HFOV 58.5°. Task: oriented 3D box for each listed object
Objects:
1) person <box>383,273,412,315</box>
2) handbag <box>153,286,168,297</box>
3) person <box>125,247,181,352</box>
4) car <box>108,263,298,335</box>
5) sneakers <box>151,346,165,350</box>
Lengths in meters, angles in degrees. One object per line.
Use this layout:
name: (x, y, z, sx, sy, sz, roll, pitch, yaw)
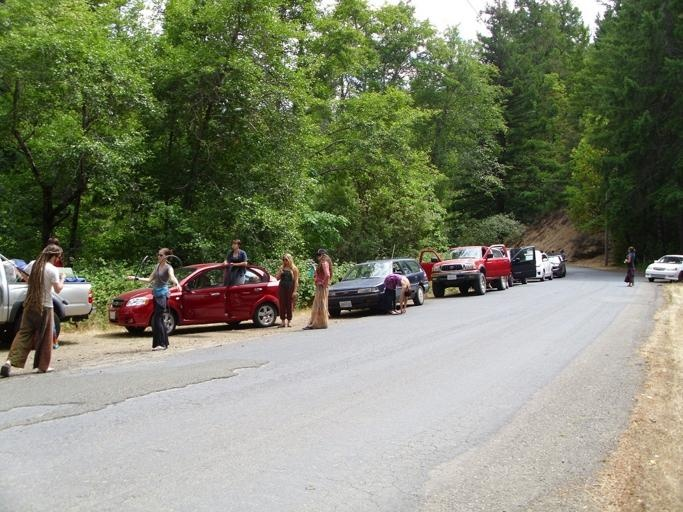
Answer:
person: (1.788, 1.196, 19.618, 0.780, 1.294, 1.443, -2, -2, 6)
handbag: (-3.831, 0.789, 12.944, 0.302, 0.294, 0.177, -4, -7, 0)
person: (-3.852, 0.919, 12.894, 0.826, 2.130, 0.621, -2, -2, -4)
car: (-3.806, 1.207, 16.158, 3.971, 1.622, 1.882, 2, -6, -33)
sneakers: (-3.831, 1.948, 12.762, 0.292, 0.121, 0.092, 3, -2, -4)
